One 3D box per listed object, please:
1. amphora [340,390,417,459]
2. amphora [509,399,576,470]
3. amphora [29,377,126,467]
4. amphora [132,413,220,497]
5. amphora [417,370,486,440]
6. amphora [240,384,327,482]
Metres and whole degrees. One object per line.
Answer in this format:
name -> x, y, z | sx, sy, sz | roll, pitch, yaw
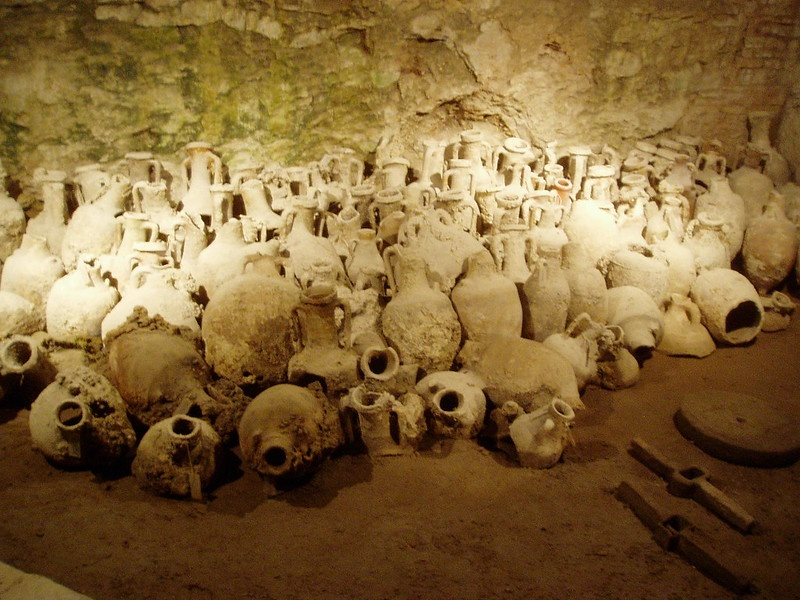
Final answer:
amphora -> -0.085, 0.738, 4.746 | 0.387, 0.632, 0.346 | -2, 52, 12
amphora -> 0.862, 0.835, 4.578 | 0.250, 0.314, 0.245 | 42, 36, 17
amphora -> -1.903, 0.717, 4.388 | 0.615, 0.578, 0.322 | 5, 14, 12
amphora -> -1.313, 0.884, 4.427 | 0.443, 0.470, 0.451 | 8, 20, -20
amphora -> 0.322, 0.692, 4.770 | 0.445, 0.389, 0.279 | 2, 13, 0
amphora -> -0.655, 0.779, 4.360 | 0.511, 0.432, 0.462 | -4, 15, -24
